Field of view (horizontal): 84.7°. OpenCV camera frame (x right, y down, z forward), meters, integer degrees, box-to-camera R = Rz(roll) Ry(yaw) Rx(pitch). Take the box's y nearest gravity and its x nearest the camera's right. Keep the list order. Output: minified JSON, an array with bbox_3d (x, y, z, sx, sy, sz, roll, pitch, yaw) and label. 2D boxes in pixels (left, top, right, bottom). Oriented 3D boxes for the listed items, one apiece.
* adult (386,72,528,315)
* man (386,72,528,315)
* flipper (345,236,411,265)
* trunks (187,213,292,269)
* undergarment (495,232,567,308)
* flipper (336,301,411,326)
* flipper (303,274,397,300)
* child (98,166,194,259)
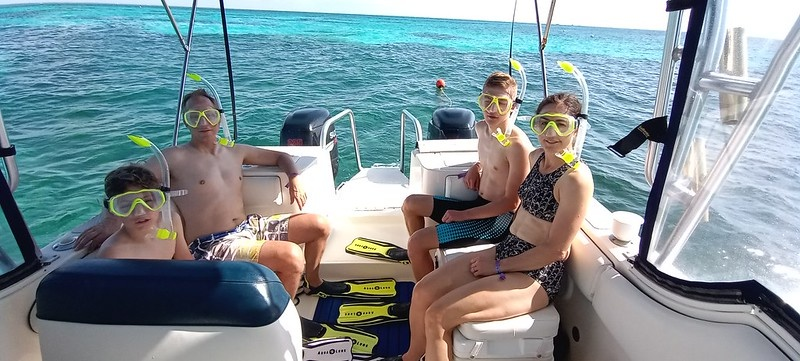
[{"bbox_3d":[0.753,0.172,5.459,1.837,2.557,1.179,-10,24,-6],"label":"adult"},{"bbox_3d":[0.729,0.161,5.506,2.049,2.684,1.302,-6,21,-2],"label":"man"},{"bbox_3d":[-0.305,0.885,5.604,0.917,0.139,0.256,7,45,6],"label":"flipper"},{"bbox_3d":[-1.720,0.722,5.150,1.102,0.206,0.775,-6,28,-32],"label":"trunks"},{"bbox_3d":[1.396,0.969,4.879,0.898,0.562,0.809,2,9,-5],"label":"undergarment"},{"bbox_3d":[-0.206,1.548,5.223,0.987,0.358,0.231,12,60,-36],"label":"flipper"},{"bbox_3d":[-0.514,1.367,5.602,1.330,0.392,0.299,-1,64,-1],"label":"flipper"},{"bbox_3d":[-2.686,0.416,4.460,0.770,1.080,0.558,-17,34,-28],"label":"child"}]
